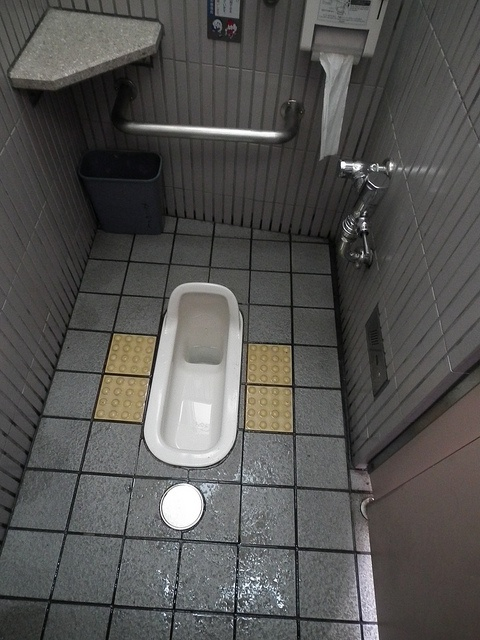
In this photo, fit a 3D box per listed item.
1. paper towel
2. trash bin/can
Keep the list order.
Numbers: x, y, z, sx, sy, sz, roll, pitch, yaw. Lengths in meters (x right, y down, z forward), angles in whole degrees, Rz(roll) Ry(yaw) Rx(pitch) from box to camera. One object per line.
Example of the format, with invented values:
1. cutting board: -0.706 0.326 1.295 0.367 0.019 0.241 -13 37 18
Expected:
1. paper towel: 0.406 -1.056 1.796 0.218 0.536 0.210 12 48 6
2. trash bin/can: -0.686 -0.737 2.495 0.469 0.639 0.389 1 60 -6
